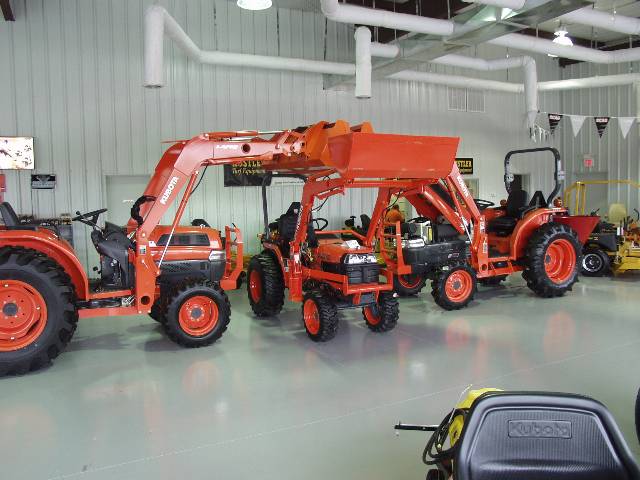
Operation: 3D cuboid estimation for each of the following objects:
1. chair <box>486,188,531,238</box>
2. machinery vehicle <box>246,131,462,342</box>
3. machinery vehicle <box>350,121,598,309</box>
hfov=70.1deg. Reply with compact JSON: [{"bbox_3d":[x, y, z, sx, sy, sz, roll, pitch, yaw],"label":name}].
[{"bbox_3d":[3.296,-0.473,7.946,0.836,1.084,0.647,0,2,-28],"label":"chair"},{"bbox_3d":[0.146,-0.139,6.196,1.512,2.638,3.060,-2,4,-33],"label":"machinery vehicle"},{"bbox_3d":[2.524,-0.341,7.568,3.771,2.590,1.924,-5,9,-17],"label":"machinery vehicle"}]
